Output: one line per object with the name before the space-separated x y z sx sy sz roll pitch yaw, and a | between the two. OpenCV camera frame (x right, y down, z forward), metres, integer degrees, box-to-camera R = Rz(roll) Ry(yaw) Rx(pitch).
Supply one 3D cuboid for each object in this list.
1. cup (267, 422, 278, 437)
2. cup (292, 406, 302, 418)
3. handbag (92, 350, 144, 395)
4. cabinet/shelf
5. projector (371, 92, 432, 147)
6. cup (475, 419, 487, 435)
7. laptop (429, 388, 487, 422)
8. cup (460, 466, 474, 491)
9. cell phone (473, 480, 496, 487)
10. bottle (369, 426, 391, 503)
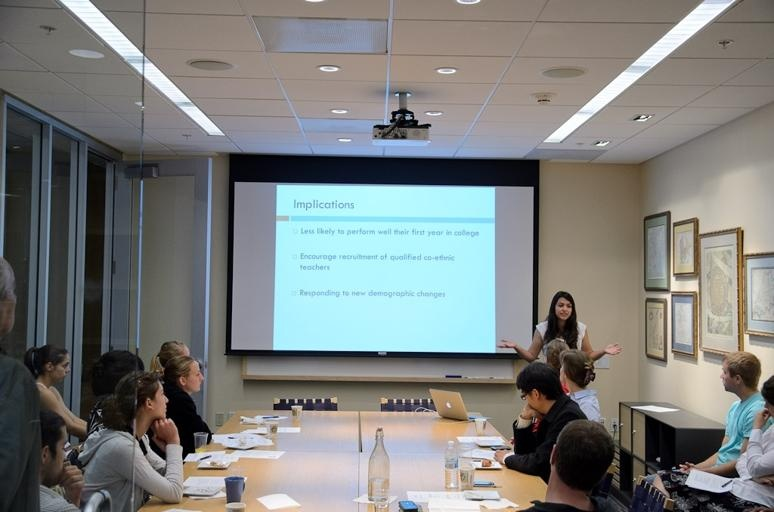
cup | -0.892 1.366 4.514 0.106 0.110 0.076 3 -16 -9
cup | -0.801 1.380 5.088 0.093 0.071 0.088 -1 -4 0
handbag | -0.856 0.358 1.823 0.146 0.146 0.109 -2 7 -31
cabinet/shelf | 2.604 1.741 5.184 0.438 1.035 1.224 1 -5 0
projector | 0.138 -1.149 5.099 0.469 0.408 0.467 0 -3 -1
cup | 0.799 1.432 4.787 0.105 0.101 0.095 -11 -15 37
laptop | 0.670 1.324 5.334 0.362 0.245 0.345 1 -6 -38
cup | 0.462 1.277 3.302 0.083 0.127 0.120 0 -6 7
cell phone | 0.579 1.347 3.382 0.134 0.016 0.113 0 -7 3
bottle | -0.046 1.145 3.146 0.115 0.372 0.347 1 -6 -1
